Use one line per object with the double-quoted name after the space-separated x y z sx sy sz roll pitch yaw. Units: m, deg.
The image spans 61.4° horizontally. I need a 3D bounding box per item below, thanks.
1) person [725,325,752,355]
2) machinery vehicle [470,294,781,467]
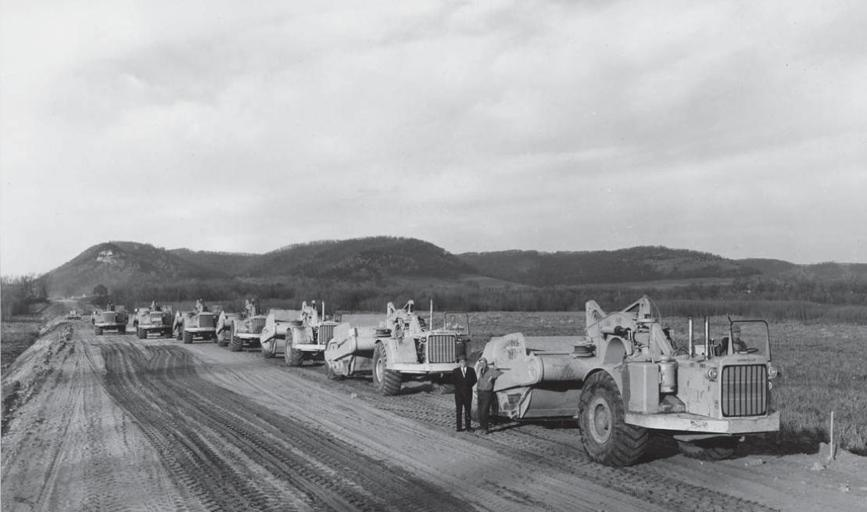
8.609 2.285 20.488 0.468 0.710 1.674 -1 0 23 "person"
5.116 3.715 22.022 5.014 3.479 7.643 3 -4 -27 "machinery vehicle"
